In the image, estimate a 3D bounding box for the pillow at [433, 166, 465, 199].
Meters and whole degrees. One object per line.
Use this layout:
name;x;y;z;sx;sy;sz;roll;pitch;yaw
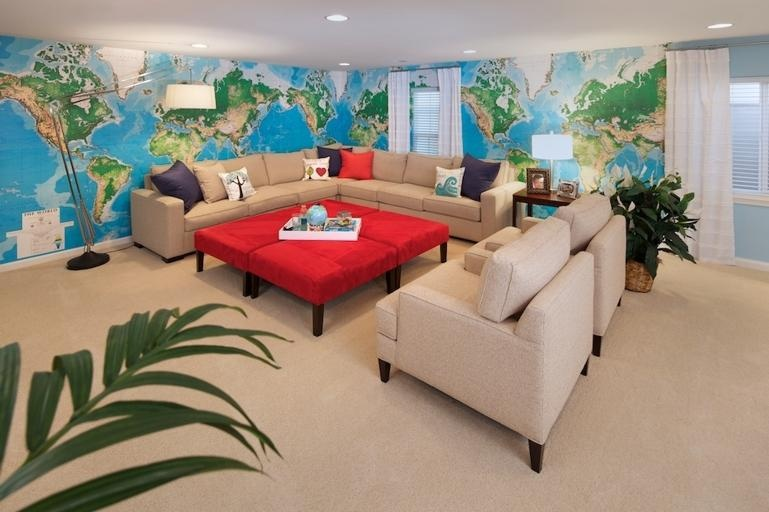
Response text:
pillow;0.914;-1.011;6.640;0.476;0.449;0.179;3;-17;35

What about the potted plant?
potted plant;2.735;-0.217;5.006;0.988;1.140;1.013;7;13;-33

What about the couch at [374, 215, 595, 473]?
couch;0.860;0.581;4.075;1.591;1.521;2.233;11;20;35

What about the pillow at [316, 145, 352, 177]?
pillow;-0.839;-1.523;7.775;0.585;0.539;0.204;-5;0;-15

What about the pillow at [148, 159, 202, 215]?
pillow;-2.606;-0.821;5.886;0.359;0.484;0.662;1;30;23

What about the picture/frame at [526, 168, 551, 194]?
picture/frame;2.052;-0.984;6.329;0.350;0.402;0.060;3;6;15

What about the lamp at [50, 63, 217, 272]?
lamp;-3.133;-1.199;5.931;1.961;2.267;0.916;-15;22;-33

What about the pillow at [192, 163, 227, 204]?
pillow;-2.271;-0.964;6.224;0.156;0.501;0.542;-17;6;25

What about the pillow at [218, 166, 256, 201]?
pillow;-2.014;-0.957;6.387;0.478;0.385;0.212;-18;-17;-46

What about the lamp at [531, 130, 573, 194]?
lamp;2.134;-1.220;6.097;0.603;0.912;0.576;1;24;18
